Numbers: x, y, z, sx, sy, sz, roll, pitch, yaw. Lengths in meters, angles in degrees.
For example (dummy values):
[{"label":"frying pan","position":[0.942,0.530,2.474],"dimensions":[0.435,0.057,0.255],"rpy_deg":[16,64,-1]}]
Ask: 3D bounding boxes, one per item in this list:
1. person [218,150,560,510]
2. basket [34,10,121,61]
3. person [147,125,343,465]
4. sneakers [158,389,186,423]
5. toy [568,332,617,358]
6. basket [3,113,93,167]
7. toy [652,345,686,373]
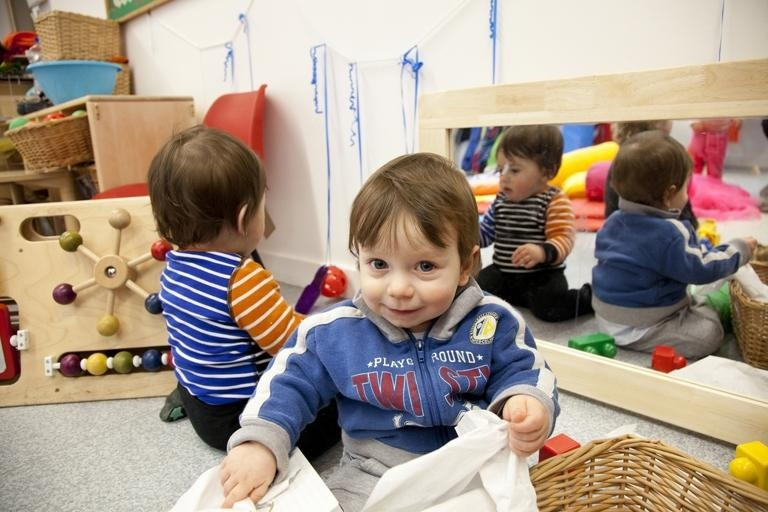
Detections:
[{"label":"person","position":[0.002,0.168,1.127],"dimensions":[0.709,0.727,0.354],"rpy_deg":[-7,14,-17]},{"label":"basket","position":[-1.450,-1.052,2.636],"dimensions":[0.379,0.225,0.302],"rpy_deg":[-14,17,-40]},{"label":"person","position":[-0.391,0.069,1.628],"dimensions":[0.530,0.857,0.502],"rpy_deg":[-12,24,-41]},{"label":"sneakers","position":[-0.647,0.459,1.658],"dimensions":[0.044,0.125,0.052],"rpy_deg":[32,24,-23]},{"label":"toy","position":[0.621,0.252,1.609],"dimensions":[0.080,0.056,0.079],"rpy_deg":[-2,-3,10]},{"label":"basket","position":[-1.462,-0.494,2.405],"dimensions":[0.311,0.151,0.257],"rpy_deg":[-16,10,-5]},{"label":"toy","position":[0.794,0.291,1.521],"dimensions":[0.070,0.065,0.071],"rpy_deg":[3,17,33]}]
